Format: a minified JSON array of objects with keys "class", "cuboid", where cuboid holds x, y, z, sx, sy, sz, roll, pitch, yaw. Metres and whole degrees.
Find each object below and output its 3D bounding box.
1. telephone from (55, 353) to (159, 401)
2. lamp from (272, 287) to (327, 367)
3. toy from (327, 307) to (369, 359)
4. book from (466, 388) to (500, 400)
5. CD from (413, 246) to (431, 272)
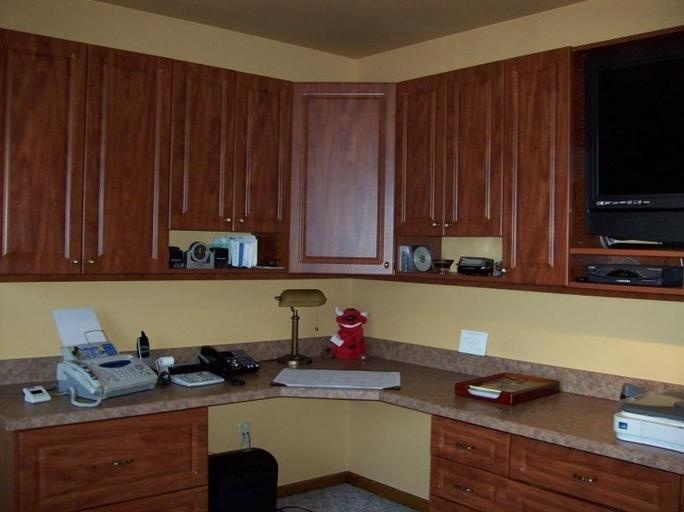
[{"class":"telephone","cuboid":[-1.225,0.619,2.859,0.326,0.202,0.360,-1,3,34]},{"class":"lamp","cuboid":[-0.301,0.464,3.746,0.315,0.499,0.380,-4,3,-19]},{"class":"toy","cuboid":[0.026,0.559,3.956,0.380,0.465,0.310,2,-12,-13]},{"class":"book","cuboid":[0.748,0.710,2.849,0.080,0.020,0.079,1,0,45]},{"class":"CD","cuboid":[0.498,0.012,3.372,0.104,0.149,0.055,-3,3,-7]}]
